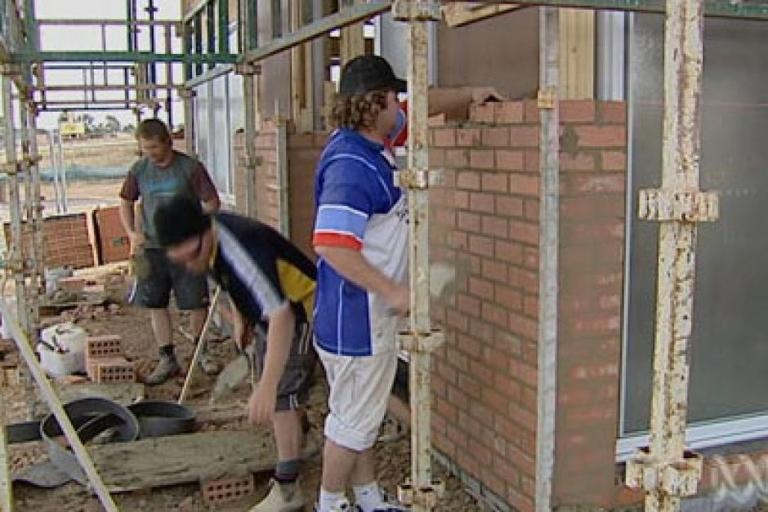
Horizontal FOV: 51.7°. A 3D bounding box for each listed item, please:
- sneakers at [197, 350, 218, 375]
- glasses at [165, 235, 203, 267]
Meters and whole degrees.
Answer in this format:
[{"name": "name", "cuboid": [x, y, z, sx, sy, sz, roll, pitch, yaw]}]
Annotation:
[{"name": "sneakers", "cuboid": [-1.708, 1.065, 7.692, 0.173, 0.098, 0.344, 5, 14, -26]}, {"name": "glasses", "cuboid": [-1.103, -0.038, 4.306, 0.196, 0.187, 0.147, 31, 23, 37]}]
